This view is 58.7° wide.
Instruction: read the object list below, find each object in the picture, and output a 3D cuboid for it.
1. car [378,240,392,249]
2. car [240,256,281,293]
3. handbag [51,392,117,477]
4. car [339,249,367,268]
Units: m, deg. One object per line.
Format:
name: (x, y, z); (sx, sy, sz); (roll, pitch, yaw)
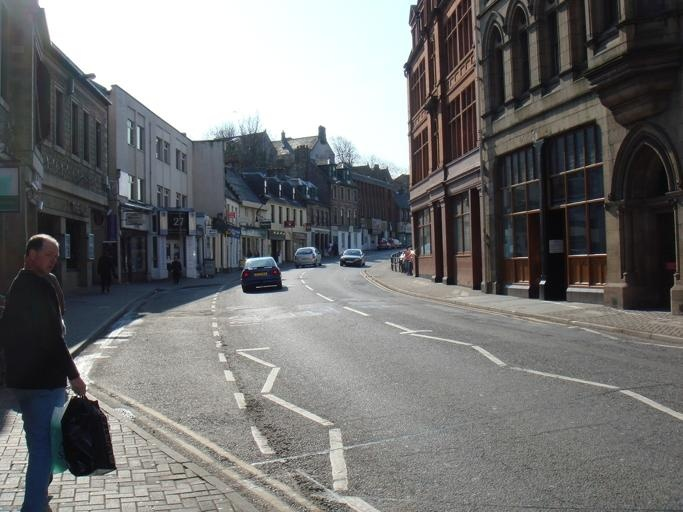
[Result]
car: (6.477, -1.720, 94.832); (1.028, 1.084, 1.983); (2, 10, 15)
car: (-4.327, 0.954, 31.865); (2.142, 1.794, 1.746); (0, -2, -29)
handbag: (-2.273, 1.583, 5.328); (0.530, 0.688, 0.210); (-1, -1, 14)
car: (0.928, 0.233, 56.210); (2.132, 1.511, 2.421); (-1, -2, -4)
